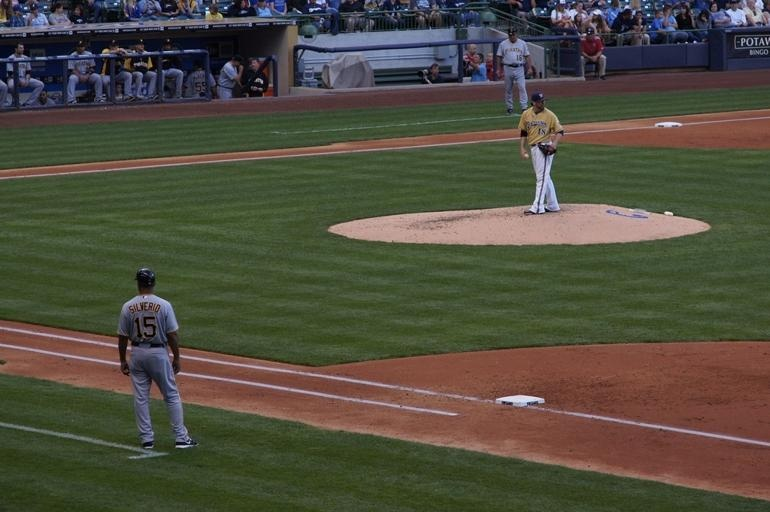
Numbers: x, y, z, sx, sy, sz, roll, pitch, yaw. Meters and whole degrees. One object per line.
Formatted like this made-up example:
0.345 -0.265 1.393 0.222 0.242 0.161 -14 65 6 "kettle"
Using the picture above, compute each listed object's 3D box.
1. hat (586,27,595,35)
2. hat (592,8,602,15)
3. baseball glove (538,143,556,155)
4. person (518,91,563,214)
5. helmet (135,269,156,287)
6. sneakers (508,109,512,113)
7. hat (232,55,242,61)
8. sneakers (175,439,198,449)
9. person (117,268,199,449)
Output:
6.269 -6.845 48.988 0.265 0.194 0.256 1 -6 3 "hat"
6.753 -7.754 51.112 0.314 0.130 0.412 1 12 16 "hat"
3.269 -2.124 32.134 0.334 0.118 0.202 18 28 -22 "baseball glove"
3.150 -2.063 32.377 0.832 2.450 0.731 -1 12 4 "person"
-3.666 0.318 24.687 0.283 0.230 0.362 -7 1 -30 "helmet"
3.345 -3.897 43.268 0.129 0.067 0.150 0 -2 8 "sneakers"
-4.181 -5.619 45.415 0.294 0.155 0.249 0 0 -1 "hat"
-3.075 2.886 24.793 0.394 0.122 0.126 -4 11 -22 "sneakers"
-3.552 1.575 24.683 0.776 2.767 0.896 -12 16 -39 "person"
